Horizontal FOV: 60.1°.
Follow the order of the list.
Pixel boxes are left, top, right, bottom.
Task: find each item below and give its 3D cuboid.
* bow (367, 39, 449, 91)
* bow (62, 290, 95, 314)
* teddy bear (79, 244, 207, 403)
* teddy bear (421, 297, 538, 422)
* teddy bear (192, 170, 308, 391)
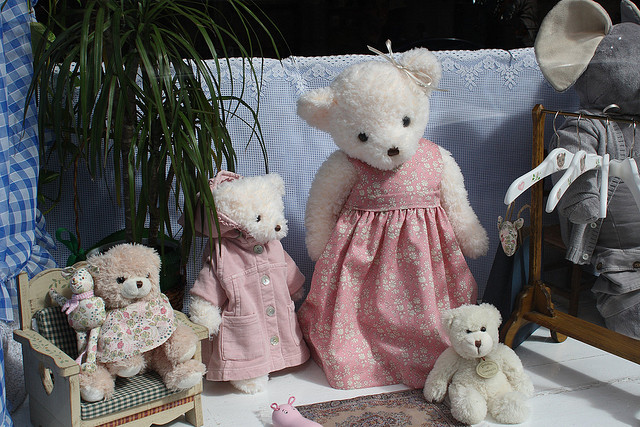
[{"bbox_3d":[0.315,-0.512,2.019,0.113,0.053,0.344,-33,72,-37],"label":"bow"},{"bbox_3d":[-0.787,0.288,1.790,0.102,0.065,0.031,-6,20,-5],"label":"bow"},{"bbox_3d":[-0.598,0.330,1.908,0.478,0.540,0.413,-4,17,-34],"label":"teddy bear"},{"bbox_3d":[0.529,0.507,2.036,0.419,0.490,0.357,-3,5,-4],"label":"teddy bear"},{"bbox_3d":[-0.251,0.229,2.103,0.475,0.817,0.285,-14,28,-22],"label":"teddy bear"}]
